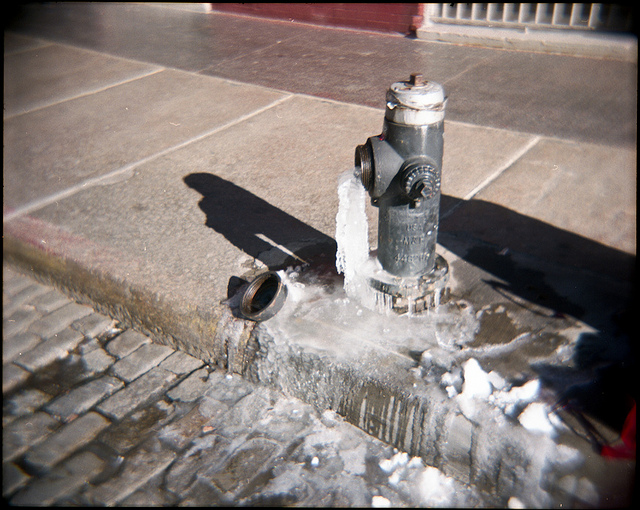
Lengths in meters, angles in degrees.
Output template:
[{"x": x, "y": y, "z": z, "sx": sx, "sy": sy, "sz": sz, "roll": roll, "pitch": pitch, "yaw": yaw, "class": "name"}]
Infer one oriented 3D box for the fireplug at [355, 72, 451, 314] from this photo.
[{"x": 0.567, "y": -0.350, "z": 3.232, "sx": 0.605, "sy": 1.342, "sz": 0.615, "roll": -15, "pitch": 36, "yaw": -18, "class": "fireplug"}]
